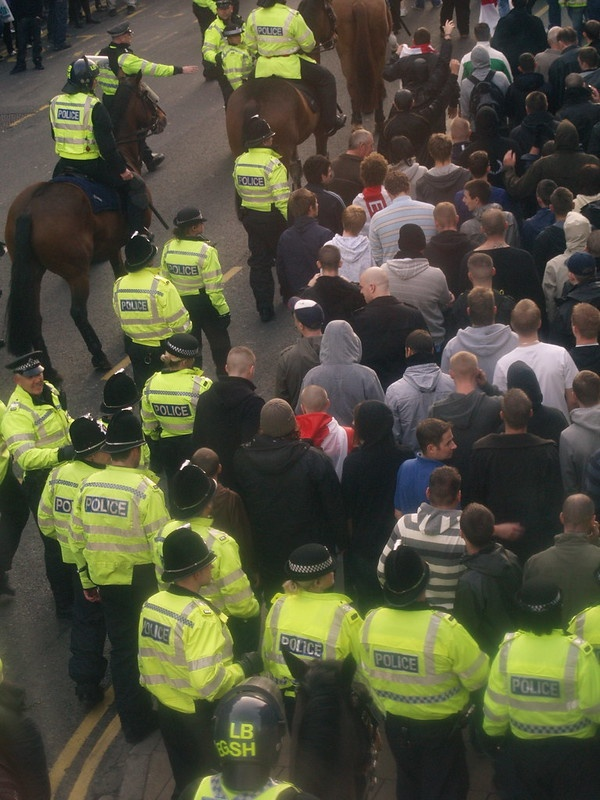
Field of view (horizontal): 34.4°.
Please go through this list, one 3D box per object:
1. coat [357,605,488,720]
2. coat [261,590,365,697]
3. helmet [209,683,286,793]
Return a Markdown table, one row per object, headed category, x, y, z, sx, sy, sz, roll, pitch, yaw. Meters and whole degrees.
| category | x | y | z | sx | sy | sz | roll | pitch | yaw |
| --- | --- | --- | --- | --- | --- | --- | --- | --- | --- |
| coat | 0.547 | 1.187 | 4.467 | 0.669 | 0.463 | 0.338 | -2 | 10 | 16 |
| coat | 0.058 | 1.096 | 4.323 | 0.537 | 0.504 | 0.297 | 5 | 16 | 14 |
| helmet | -0.179 | 1.180 | 3.451 | 0.248 | 0.248 | 0.370 | -8 | 21 | -2 |
